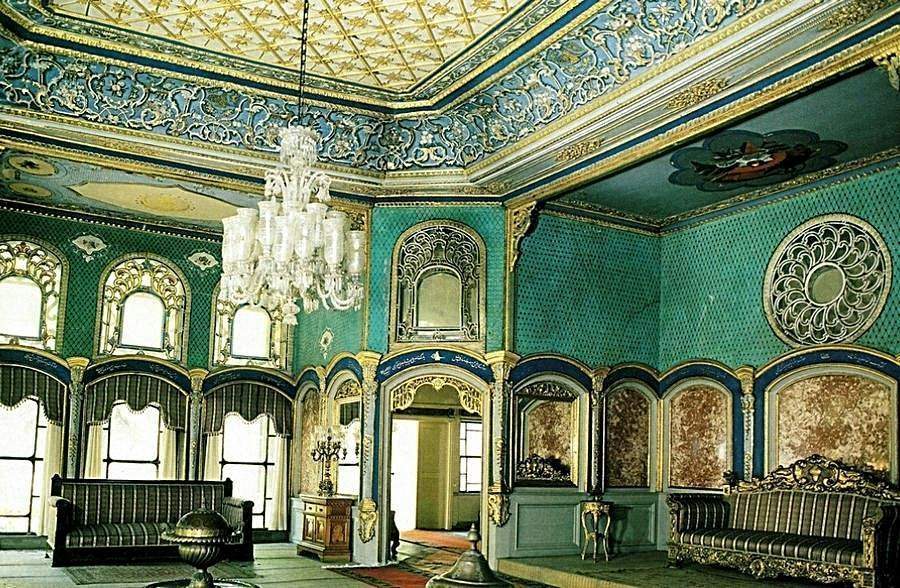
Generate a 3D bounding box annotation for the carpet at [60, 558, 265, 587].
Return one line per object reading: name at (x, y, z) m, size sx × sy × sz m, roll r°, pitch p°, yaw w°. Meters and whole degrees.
carpet at (-4.475, 4.237, 14.344) m, size 2.850 × 0.298 × 1.640 m, roll 5°, pitch -14°, yaw -17°

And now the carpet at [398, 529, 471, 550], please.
carpet at (-0.309, 4.855, 18.740) m, size 1.333 × 0.306 × 2.945 m, roll 2°, pitch -14°, yaw -2°

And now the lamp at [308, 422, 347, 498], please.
lamp at (-2.179, 2.937, 16.795) m, size 0.611 × 1.312 × 1.441 m, roll 3°, pitch -14°, yaw -5°

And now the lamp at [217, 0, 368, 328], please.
lamp at (-2.066, -1.646, 12.877) m, size 1.821 × 4.311 × 2.785 m, roll 4°, pitch -14°, yaw -8°

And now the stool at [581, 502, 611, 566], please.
stool at (2.431, 3.853, 15.480) m, size 0.526 × 0.954 × 0.841 m, roll 0°, pitch -14°, yaw 9°

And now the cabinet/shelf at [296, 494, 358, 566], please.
cabinet/shelf at (-2.139, 4.005, 16.231) m, size 0.567 × 1.059 × 1.314 m, roll 6°, pitch -12°, yaw -25°
